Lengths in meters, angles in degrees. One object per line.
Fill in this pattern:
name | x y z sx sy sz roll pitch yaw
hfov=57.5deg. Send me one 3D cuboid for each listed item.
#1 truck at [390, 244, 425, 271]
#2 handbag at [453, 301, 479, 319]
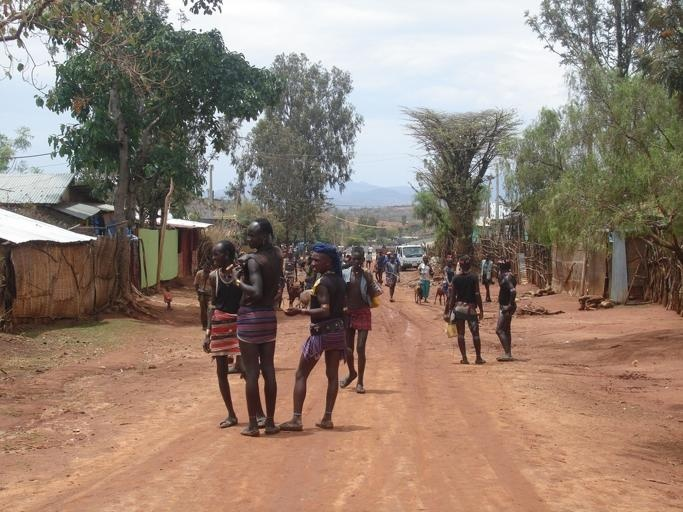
truck | 5.382 -0.040 49.979 1.814 1.707 2.885 0 -5 -8
handbag | 2.523 1.115 12.567 0.518 0.407 0.293 3 18 8
